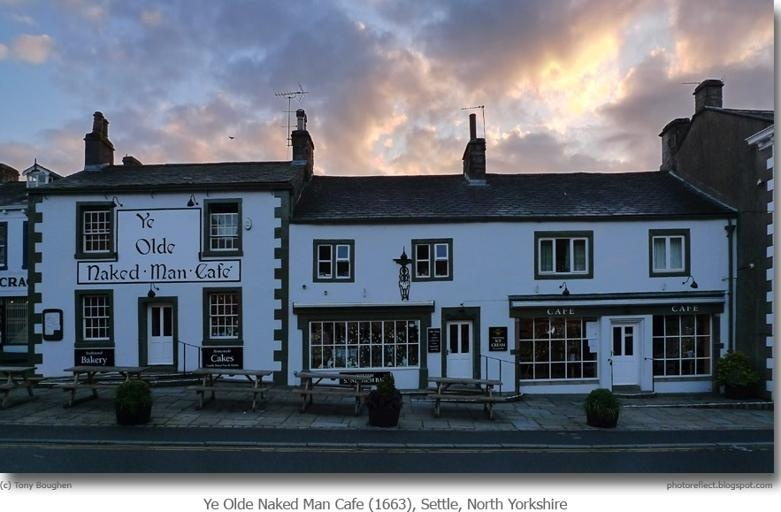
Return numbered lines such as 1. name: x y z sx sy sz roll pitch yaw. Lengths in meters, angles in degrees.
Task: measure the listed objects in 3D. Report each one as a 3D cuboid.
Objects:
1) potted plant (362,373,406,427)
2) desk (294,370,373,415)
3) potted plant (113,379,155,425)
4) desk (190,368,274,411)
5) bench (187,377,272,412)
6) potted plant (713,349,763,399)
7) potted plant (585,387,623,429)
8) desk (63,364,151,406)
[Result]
1. potted plant: -0.214 5.349 37.752 1.235 1.919 0.494 1 -10 -2
2. desk: -2.237 5.037 39.567 2.229 1.030 1.879 1 2 6
3. potted plant: -9.434 5.411 37.629 1.454 1.508 1.518 1 -8 -12
4. desk: -5.983 5.242 39.854 2.464 1.689 2.709 -2 -1 18
5. bench: -6.131 5.390 39.853 2.747 1.175 3.304 2 -9 -7
6. potted plant: 13.943 4.903 41.434 1.253 2.065 1.363 -5 -4 -27
7. potted plant: 7.815 5.668 37.913 1.155 1.451 0.573 1 -10 -3
8. desk: -10.947 4.993 39.706 3.227 1.274 2.750 1 4 -9
